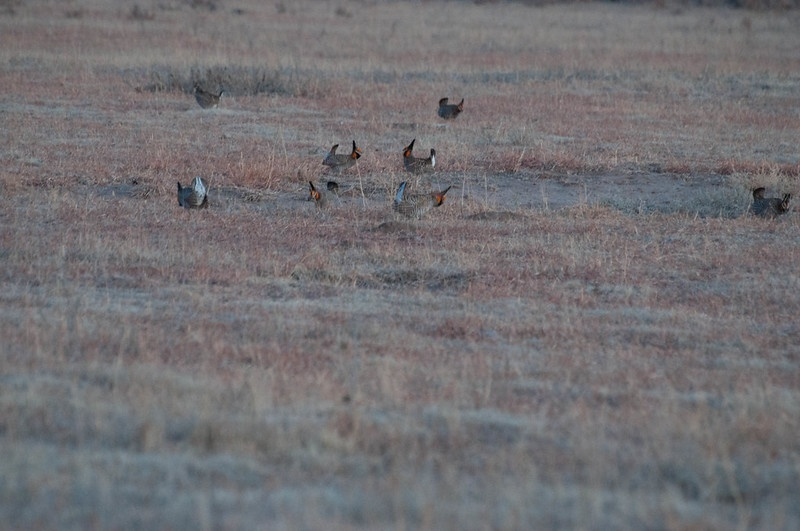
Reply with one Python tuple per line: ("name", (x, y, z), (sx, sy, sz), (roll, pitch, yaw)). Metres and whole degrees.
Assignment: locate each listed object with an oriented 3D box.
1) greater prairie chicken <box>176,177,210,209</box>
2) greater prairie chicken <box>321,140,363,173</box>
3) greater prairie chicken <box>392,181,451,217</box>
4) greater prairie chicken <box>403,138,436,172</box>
("greater prairie chicken", (-1.892, -0.660, 12.190), (0.286, 0.354, 0.273), (0, -1, -35))
("greater prairie chicken", (-0.585, -1.080, 13.168), (0.401, 0.270, 0.204), (-12, 37, -24))
("greater prairie chicken", (0.189, -0.659, 12.717), (0.483, 0.270, 0.647), (10, 34, 6))
("greater prairie chicken", (0.202, -1.085, 13.449), (0.338, 0.302, 0.372), (5, 34, 0))
